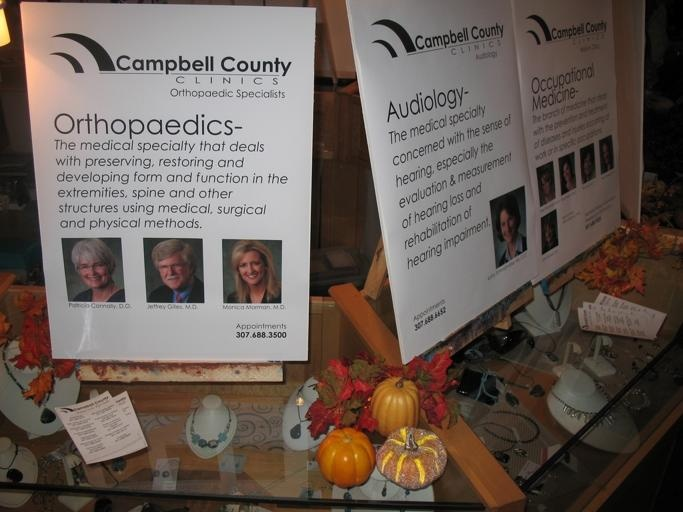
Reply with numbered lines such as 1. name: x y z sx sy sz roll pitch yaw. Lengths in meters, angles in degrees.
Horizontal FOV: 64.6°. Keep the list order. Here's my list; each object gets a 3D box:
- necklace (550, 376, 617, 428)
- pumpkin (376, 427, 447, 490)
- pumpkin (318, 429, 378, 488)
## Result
1. necklace: 0.912 0.574 2.119 0.171 0.048 0.181 15 58 24
2. pumpkin: 0.216 0.607 1.759 0.181 0.100 0.184 24 43 40
3. pumpkin: 0.021 0.660 1.833 0.150 0.149 0.157 19 26 27
